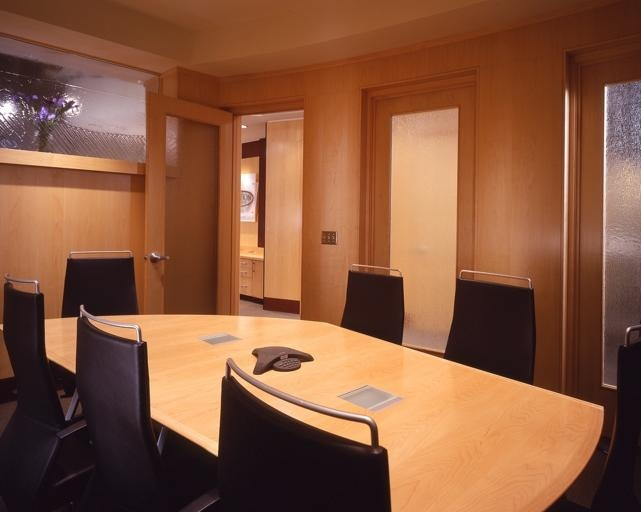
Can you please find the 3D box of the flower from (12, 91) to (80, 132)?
[{"bbox_3d":[-2.267,-1.200,4.002,0.294,0.174,0.286,23,-18,-28],"label":"flower"}]
